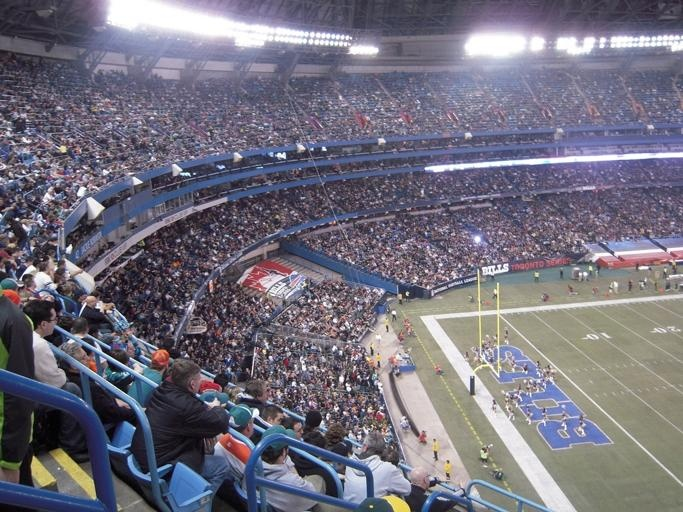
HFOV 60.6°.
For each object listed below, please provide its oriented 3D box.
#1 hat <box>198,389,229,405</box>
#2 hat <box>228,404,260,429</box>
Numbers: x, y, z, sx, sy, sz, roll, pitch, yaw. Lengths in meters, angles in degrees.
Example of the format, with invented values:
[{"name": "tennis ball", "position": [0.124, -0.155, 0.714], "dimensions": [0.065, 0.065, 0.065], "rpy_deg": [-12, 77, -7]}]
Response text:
[{"name": "hat", "position": [-2.444, 2.675, 11.115], "dimensions": [0.430, 0.124, 0.267], "rpy_deg": [3, 13, -19]}, {"name": "hat", "position": [-1.753, 2.833, 10.555], "dimensions": [0.323, 0.534, 0.267], "rpy_deg": [17, -62, 37]}]
